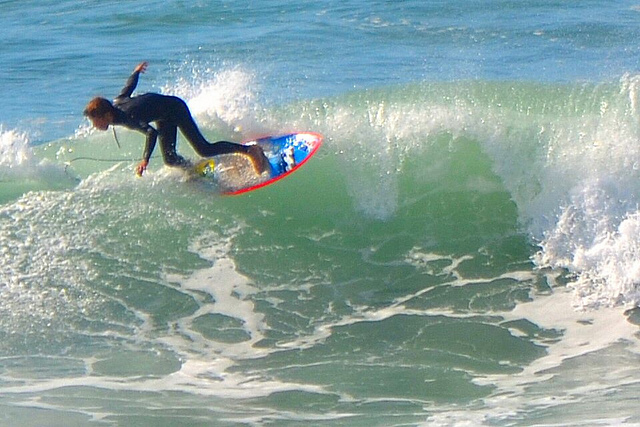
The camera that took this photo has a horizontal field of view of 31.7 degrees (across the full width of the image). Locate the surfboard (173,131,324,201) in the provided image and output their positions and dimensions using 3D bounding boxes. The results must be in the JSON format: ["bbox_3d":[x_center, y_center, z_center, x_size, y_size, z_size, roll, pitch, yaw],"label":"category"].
[{"bbox_3d":[-1.214,-0.730,19.422,3.059,0.863,0.372,-17,-17,-7],"label":"surfboard"}]
